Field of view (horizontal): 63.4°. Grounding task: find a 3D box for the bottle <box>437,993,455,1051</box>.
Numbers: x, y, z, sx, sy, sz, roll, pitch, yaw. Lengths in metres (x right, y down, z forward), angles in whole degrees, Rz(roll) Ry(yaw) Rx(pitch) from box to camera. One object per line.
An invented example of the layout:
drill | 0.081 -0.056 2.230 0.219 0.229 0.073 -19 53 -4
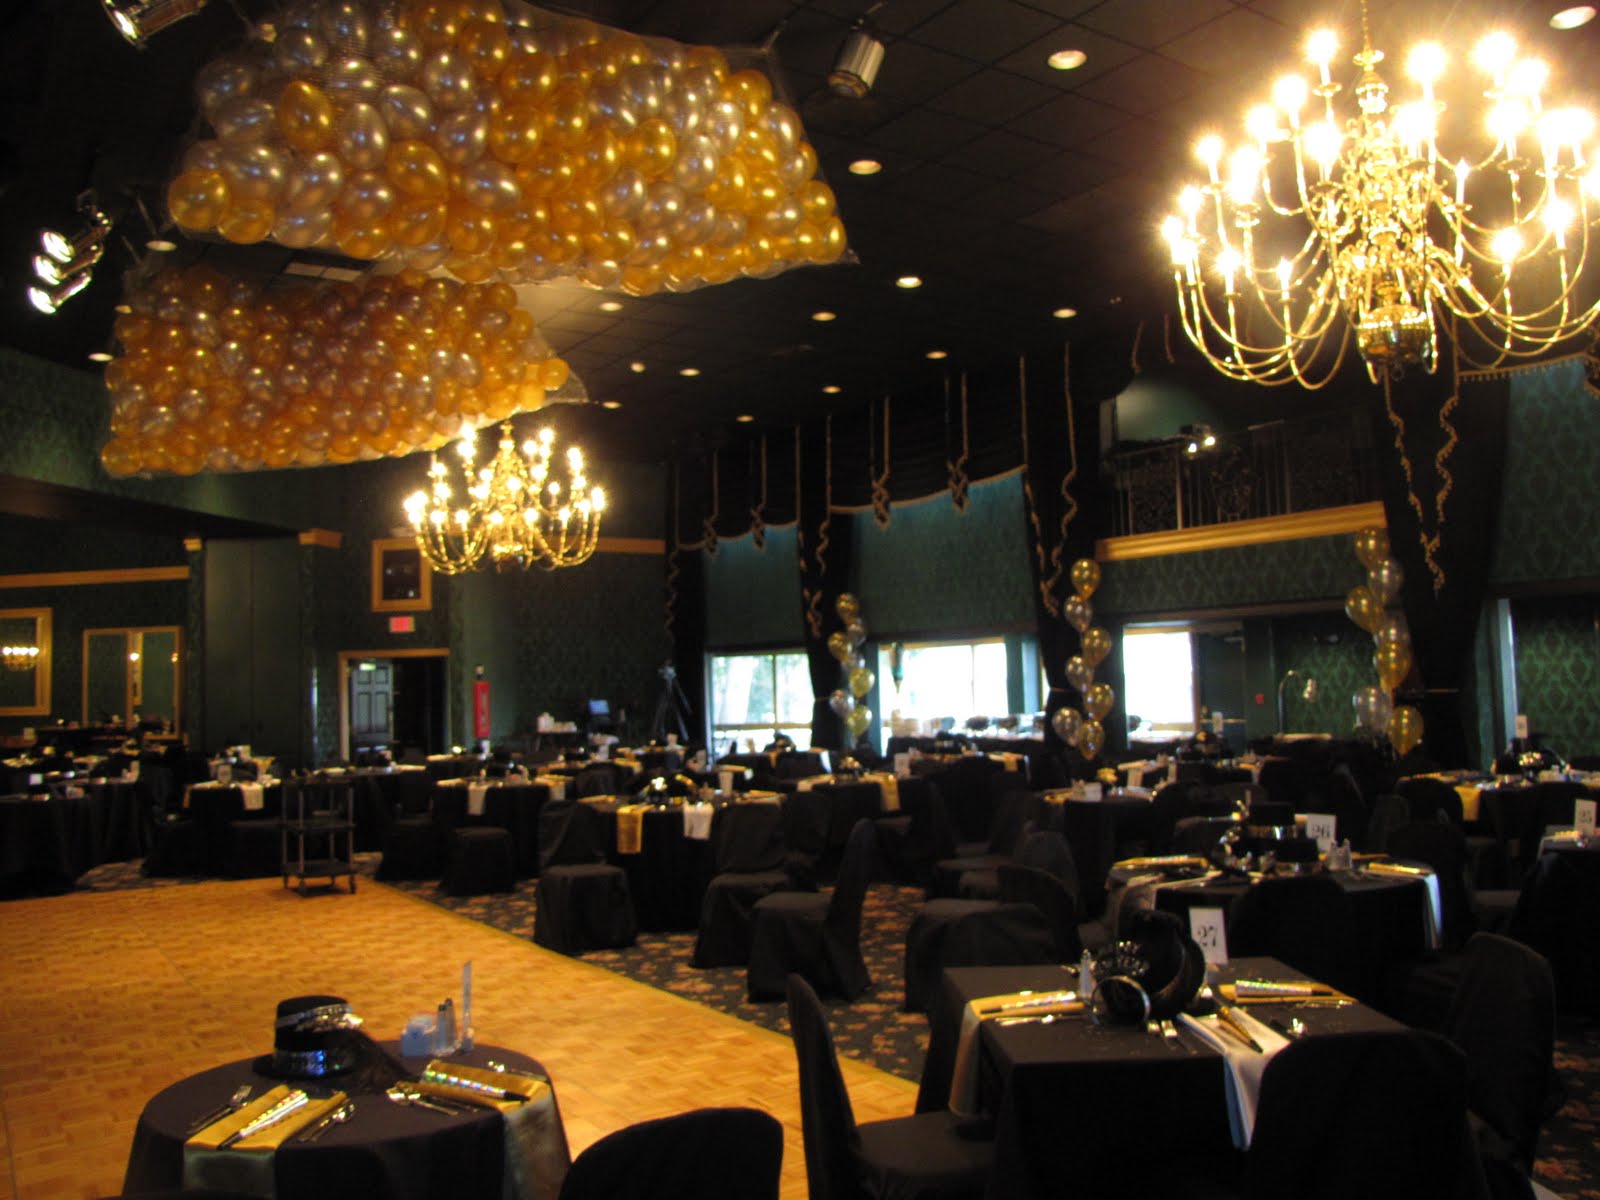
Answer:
bottle | -1.129 1.338 4.148 0.065 0.155 0.144 0 -6 -14

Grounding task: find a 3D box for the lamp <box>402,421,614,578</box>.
lamp | -3.173 -1.061 13.821 1.434 2.062 1.530 -4 4 1

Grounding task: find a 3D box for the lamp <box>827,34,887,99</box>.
lamp | 0.318 -2.871 6.929 0.240 0.256 0.219 -7 -8 41
